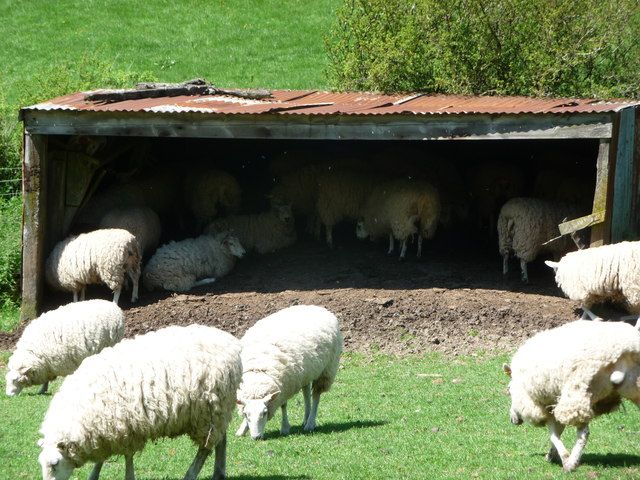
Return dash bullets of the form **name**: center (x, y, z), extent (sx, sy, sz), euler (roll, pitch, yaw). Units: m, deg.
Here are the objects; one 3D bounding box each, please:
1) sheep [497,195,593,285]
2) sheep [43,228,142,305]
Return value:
- **sheep**: center (5.466, 0.018, 22.067), extent (2.375, 2.036, 1.137), euler (-1, 8, -29)
- **sheep**: center (-5.235, 0.608, 20.630), extent (2.198, 1.848, 1.180), euler (-1, 10, 11)
